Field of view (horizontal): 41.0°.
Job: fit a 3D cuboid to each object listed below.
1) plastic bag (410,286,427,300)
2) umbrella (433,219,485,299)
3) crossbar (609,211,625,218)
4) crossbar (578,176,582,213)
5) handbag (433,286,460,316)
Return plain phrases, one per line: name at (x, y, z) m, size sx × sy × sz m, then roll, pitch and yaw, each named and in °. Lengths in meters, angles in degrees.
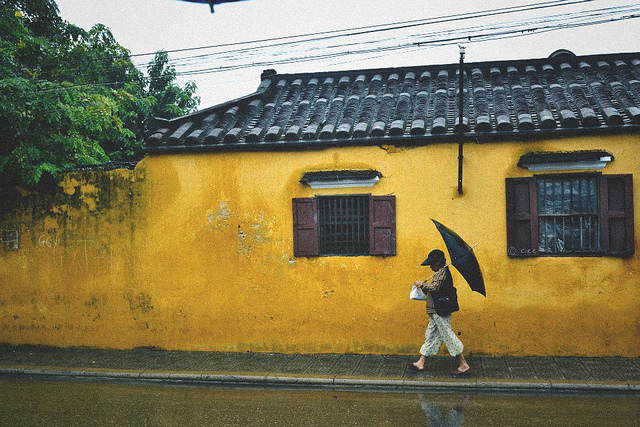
plastic bag at (2.241, 1.839, 19.823) m, size 0.350 × 0.352 × 0.231 m, roll 2°, pitch -1°, yaw -15°
umbrella at (3.197, 1.055, 19.479) m, size 0.591 × 1.288 × 1.271 m, roll -24°, pitch 13°, yaw -33°
crossbar at (7.006, 0.022, 20.236) m, size 0.353 × 0.147 × 0.085 m, roll -1°, pitch -6°, yaw 15°
crossbar at (6.198, -0.446, 20.406) m, size 0.071 × 0.873 × 0.138 m, roll -1°, pitch -6°, yaw 17°
handbag at (2.866, 2.011, 19.662) m, size 0.671 × 0.692 × 0.397 m, roll -11°, pitch -1°, yaw -16°
